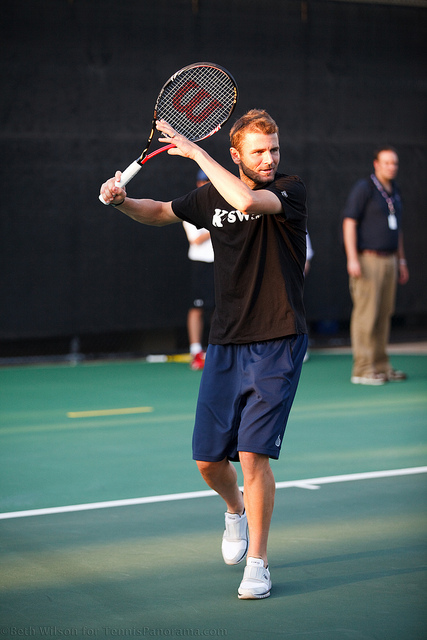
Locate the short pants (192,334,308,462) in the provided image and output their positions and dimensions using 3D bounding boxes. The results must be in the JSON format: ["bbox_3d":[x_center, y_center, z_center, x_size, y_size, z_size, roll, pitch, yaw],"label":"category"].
[{"bbox_3d":[0.108,0.266,2.103,0.377,0.433,0.234,-1,-2,11],"label":"short pants"}]

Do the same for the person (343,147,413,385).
[{"bbox_3d":[1.668,-0.510,6.588,0.609,2.397,1.007,-1,-2,13],"label":"person"}]
